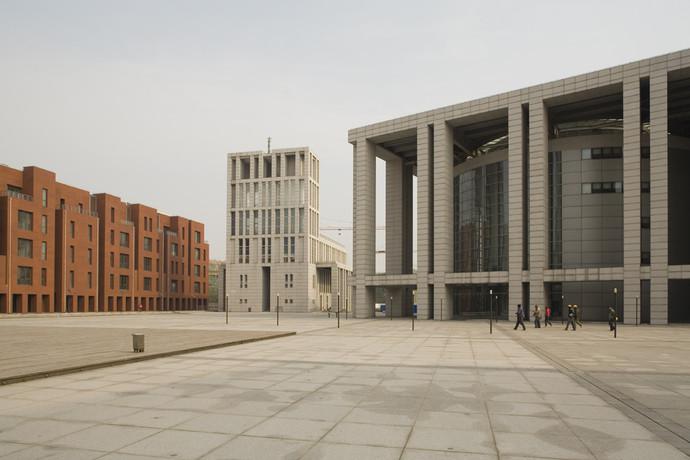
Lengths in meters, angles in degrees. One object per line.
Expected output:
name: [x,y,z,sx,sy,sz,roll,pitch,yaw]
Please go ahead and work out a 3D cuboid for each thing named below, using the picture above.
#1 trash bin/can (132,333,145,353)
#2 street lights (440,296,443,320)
trash bin/can: [-12.763,7.143,42.923,0.660,1.067,0.832,-1,8,-14]
street lights: [12.639,10.117,89.213,0.380,2.749,0.652,1,8,0]
